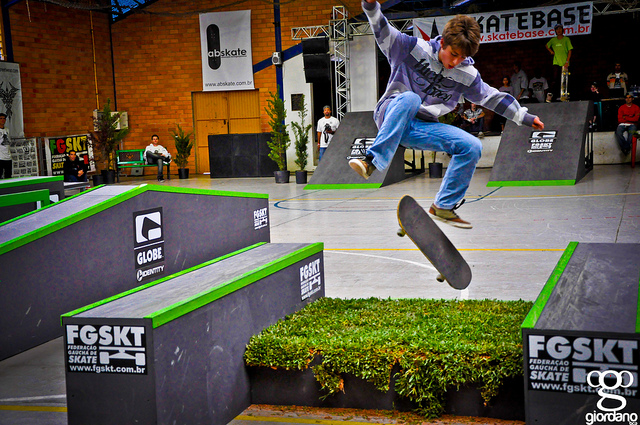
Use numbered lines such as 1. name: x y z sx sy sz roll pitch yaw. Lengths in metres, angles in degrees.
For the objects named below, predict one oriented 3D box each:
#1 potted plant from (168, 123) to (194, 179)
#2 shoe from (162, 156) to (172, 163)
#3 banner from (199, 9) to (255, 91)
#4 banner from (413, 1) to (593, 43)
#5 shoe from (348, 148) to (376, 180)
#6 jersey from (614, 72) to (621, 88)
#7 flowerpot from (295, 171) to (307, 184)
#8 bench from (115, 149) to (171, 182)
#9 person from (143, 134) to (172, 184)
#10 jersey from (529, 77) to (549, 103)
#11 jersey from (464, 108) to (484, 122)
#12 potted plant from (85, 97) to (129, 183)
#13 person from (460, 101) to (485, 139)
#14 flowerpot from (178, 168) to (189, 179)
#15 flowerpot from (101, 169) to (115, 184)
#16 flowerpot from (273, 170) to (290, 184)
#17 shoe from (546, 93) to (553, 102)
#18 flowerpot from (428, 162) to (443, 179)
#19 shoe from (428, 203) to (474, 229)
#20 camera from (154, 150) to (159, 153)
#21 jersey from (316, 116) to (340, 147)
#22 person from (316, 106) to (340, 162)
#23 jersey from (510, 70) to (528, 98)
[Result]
1. potted plant: -4.893 -2.058 18.351 1.001 1.889 0.853 -7 -10 34
2. shoe: -5.314 -1.863 17.954 0.264 0.217 0.362 -4 11 -14
3. banner: -3.337 -6.090 18.996 3.046 3.734 0.279 1 7 7
4. banner: 5.631 -5.640 15.347 4.534 1.018 0.368 1 11 11
5. shoe: 0.357 -0.408 4.391 0.119 0.190 0.284 29 -8 33
6. jersey: 9.697 -4.326 16.862 0.161 0.472 0.225 2 11 17
7. flowerpot: -0.574 -1.112 16.064 0.329 0.404 0.418 -2 11 -5
8. bench: -6.949 -1.818 20.007 0.701 1.137 1.886 7 9 16
9. person: -5.652 -1.895 18.083 0.840 1.545 2.135 -5 11 -19
10. jersey: 7.514 -4.281 17.911 0.428 0.826 0.596 -9 14 -37
11. jersey: 5.065 -3.231 17.068 0.489 0.197 0.483 5 28 12
12. potted plant: -7.078 -2.468 17.583 1.616 2.912 1.385 -2 -4 -28
13. person: 5.182 -3.203 17.483 0.768 1.259 0.786 -4 2 18
14. flowerpot: -4.814 -1.396 18.271 0.312 0.372 0.433 -4 11 -18
15. flowerpot: -7.046 -1.219 17.471 0.518 0.438 0.569 0 -2 -1
16. flowerpot: -1.195 -1.135 16.435 0.448 0.380 0.521 -2 11 -7
17. shoe: 6.206 -3.114 13.987 0.125 0.218 0.878 3 12 22
18. flowerpot: 3.499 -1.265 15.624 0.452 0.420 0.418 -1 6 -1
19. shoe: 1.274 0.048 5.078 0.487 0.274 0.264 -10 14 -40
20. camera: -5.669 -2.134 17.940 0.087 0.085 0.054 -2 11 -7
21. jersey: 0.254 -2.501 15.812 0.726 0.900 0.320 -2 23 -7
22. person: 0.231 -2.468 15.716 0.613 1.522 1.227 -1 11 0
23. jersey: 6.891 -4.482 17.929 0.575 0.900 0.481 3 11 19
